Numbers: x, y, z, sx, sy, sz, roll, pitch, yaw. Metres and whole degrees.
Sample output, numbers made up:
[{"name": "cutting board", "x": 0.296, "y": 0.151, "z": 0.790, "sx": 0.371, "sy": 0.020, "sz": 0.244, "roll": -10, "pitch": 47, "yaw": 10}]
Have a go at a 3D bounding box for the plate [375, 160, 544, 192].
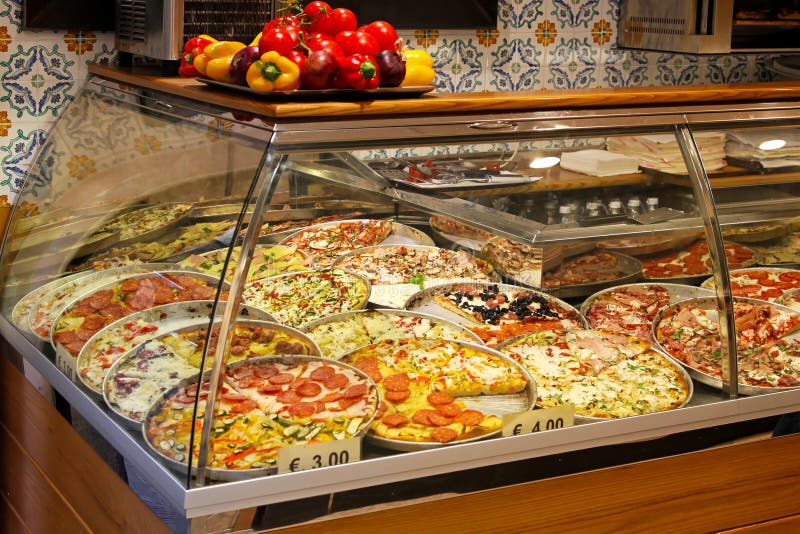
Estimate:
[{"name": "plate", "x": 0.165, "y": -0.243, "z": 1.595, "sx": 0.465, "sy": 0.078, "sz": 0.047, "roll": -2, "pitch": 4, "yaw": -13}]
